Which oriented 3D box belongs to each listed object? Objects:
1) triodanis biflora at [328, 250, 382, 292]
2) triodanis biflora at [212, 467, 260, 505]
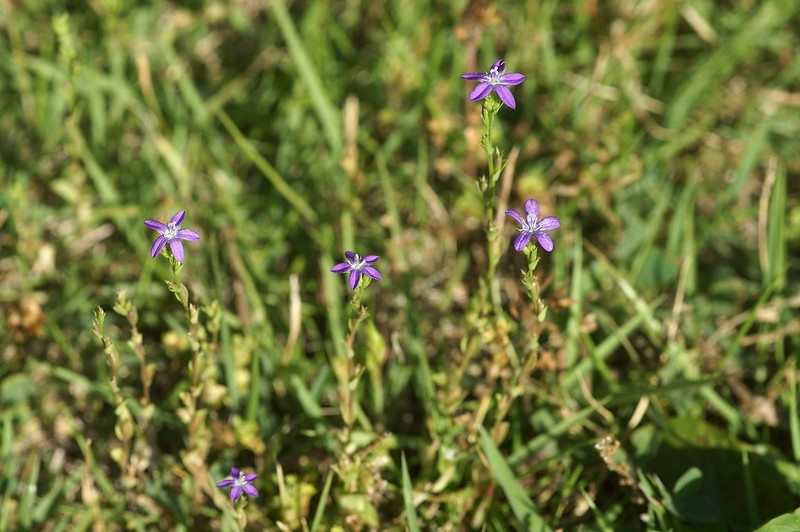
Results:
[{"bbox_3d":[-0.189,-0.016,3.390,0.222,0.215,0.098,-18,57,38],"label":"triodanis biflora"},{"bbox_3d":[-0.713,0.964,3.435,0.242,0.231,0.126,-1,71,32],"label":"triodanis biflora"}]
